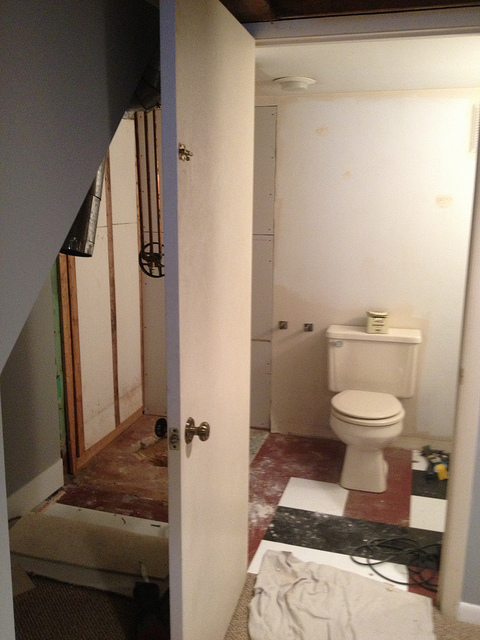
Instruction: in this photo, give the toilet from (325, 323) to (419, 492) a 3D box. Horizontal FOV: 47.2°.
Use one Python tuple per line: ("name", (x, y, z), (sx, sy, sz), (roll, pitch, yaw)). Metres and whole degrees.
("toilet", (0.683, 0.437, 3.027), (0.550, 0.811, 0.705), (3, 10, 19))
